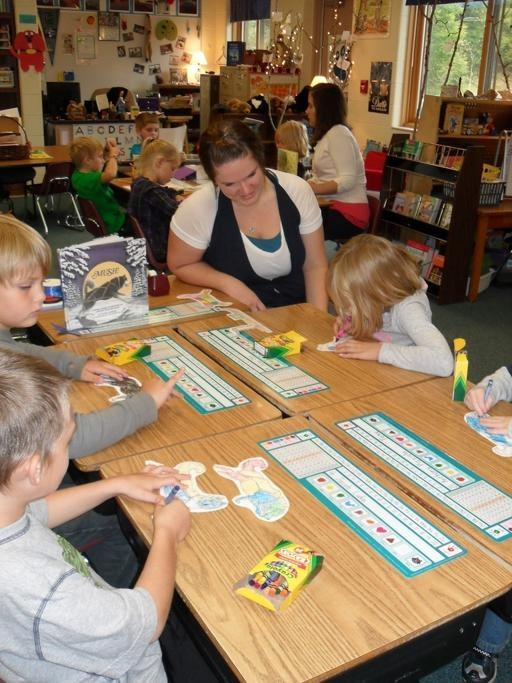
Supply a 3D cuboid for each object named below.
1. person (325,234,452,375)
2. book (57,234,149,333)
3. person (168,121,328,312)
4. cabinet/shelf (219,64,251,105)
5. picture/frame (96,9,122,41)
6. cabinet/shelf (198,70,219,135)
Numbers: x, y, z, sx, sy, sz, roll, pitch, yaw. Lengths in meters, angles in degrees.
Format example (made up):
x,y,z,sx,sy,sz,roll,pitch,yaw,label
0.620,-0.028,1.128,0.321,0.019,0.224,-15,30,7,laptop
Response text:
x,y,z,sx,sy,sz,roll,pitch,yaw,label
0.463,-0.160,1.831,0.417,0.382,0.724,-5,20,-12,person
-0.580,-0.207,1.891,0.354,0.317,0.147,-15,28,-32,book
-0.027,-0.476,2.394,0.790,1.075,0.628,-1,45,5,person
-0.287,-3.472,6.672,0.305,0.457,0.543,-7,22,-18,cabinet/shelf
-3.161,-6.772,10.534,0.578,0.621,0.045,-30,39,-35,picture/frame
-0.630,-3.427,7.091,0.256,0.681,0.400,-8,31,-19,cabinet/shelf
